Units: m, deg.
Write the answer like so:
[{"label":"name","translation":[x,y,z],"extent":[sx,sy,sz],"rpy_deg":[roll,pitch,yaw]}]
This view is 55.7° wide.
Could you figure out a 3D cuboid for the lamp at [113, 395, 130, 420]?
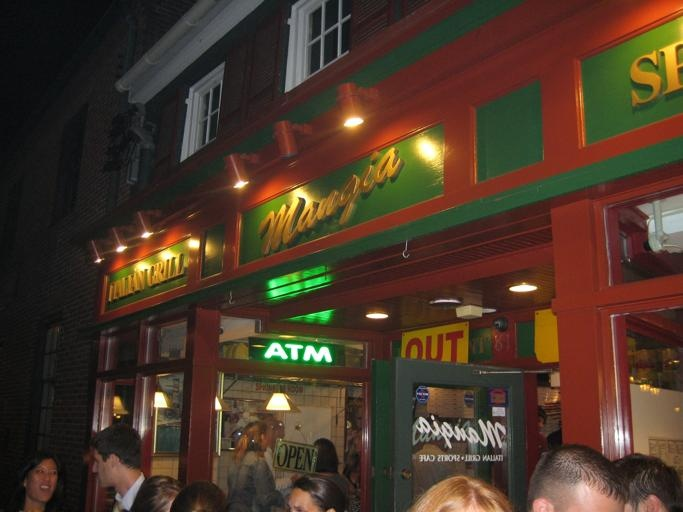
[{"label":"lamp","translation":[-3.338,2.294,9.707],"extent":[0.108,0.430,0.605],"rpy_deg":[14,-25,-30]}]

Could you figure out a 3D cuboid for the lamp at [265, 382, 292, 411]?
[{"label":"lamp","translation":[-0.784,1.783,8.166],"extent":[0.307,0.331,0.335],"rpy_deg":[1,-11,6]}]

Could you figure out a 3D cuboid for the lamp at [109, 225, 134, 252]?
[{"label":"lamp","translation":[-3.104,-0.217,9.301],"extent":[0.297,0.558,0.309],"rpy_deg":[-1,2,26]}]

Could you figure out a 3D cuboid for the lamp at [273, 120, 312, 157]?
[{"label":"lamp","translation":[-0.497,-1.184,6.425],"extent":[0.367,0.455,0.200],"rpy_deg":[13,-23,-26]}]

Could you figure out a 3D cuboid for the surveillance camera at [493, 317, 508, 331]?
[{"label":"surveillance camera","translation":[1.817,0.809,7.400],"extent":[0.141,0.148,0.168],"rpy_deg":[-9,-40,44]}]

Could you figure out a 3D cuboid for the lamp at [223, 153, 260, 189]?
[{"label":"lamp","translation":[-1.092,-0.920,7.061],"extent":[0.437,0.453,0.266],"rpy_deg":[-1,-5,-7]}]

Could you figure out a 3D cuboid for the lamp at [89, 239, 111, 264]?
[{"label":"lamp","translation":[-3.728,-0.025,10.045],"extent":[0.206,0.359,0.416],"rpy_deg":[-8,-23,22]}]

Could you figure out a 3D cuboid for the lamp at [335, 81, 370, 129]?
[{"label":"lamp","translation":[0.091,-1.329,5.861],"extent":[0.327,0.345,0.420],"rpy_deg":[17,-54,27]}]

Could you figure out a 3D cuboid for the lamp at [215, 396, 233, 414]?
[{"label":"lamp","translation":[-1.410,1.771,7.661],"extent":[0.060,0.168,0.247],"rpy_deg":[-17,-28,39]}]
